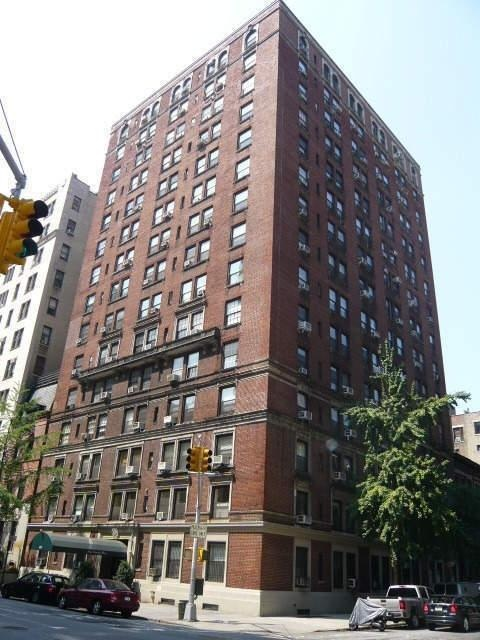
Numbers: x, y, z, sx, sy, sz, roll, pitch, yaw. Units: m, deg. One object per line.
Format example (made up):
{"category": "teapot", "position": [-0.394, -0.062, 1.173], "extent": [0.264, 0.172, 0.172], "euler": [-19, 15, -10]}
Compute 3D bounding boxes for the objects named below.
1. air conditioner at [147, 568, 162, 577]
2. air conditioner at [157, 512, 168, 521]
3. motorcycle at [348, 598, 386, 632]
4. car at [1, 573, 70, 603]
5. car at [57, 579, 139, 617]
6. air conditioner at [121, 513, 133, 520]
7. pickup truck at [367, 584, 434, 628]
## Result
{"category": "air conditioner", "position": [-5.185, 15.443, 30.083], "extent": [0.586, 0.413, 0.622], "euler": [-4, -29, 9]}
{"category": "air conditioner", "position": [-5.008, 12.468, 31.290], "extent": [1.021, 0.492, 0.221], "euler": [-21, -36, 39]}
{"category": "motorcycle", "position": [5.245, 12.031, 20.158], "extent": [1.349, 1.101, 2.619], "euler": [-5, -29, 16]}
{"category": "car", "position": [-10.369, 13.740, 25.112], "extent": [3.981, 1.496, 1.766], "euler": [-16, -41, 27]}
{"category": "car", "position": [-6.099, 11.710, 21.376], "extent": [3.911, 1.373, 1.702], "euler": [-17, -44, 31]}
{"category": "air conditioner", "position": [-7.652, 13.307, 33.351], "extent": [0.738, 0.577, 0.432], "euler": [7, -39, -8]}
{"category": "pickup truck", "position": [8.318, 14.228, 24.537], "extent": [4.507, 1.945, 2.088], "euler": [27, -37, -37]}
